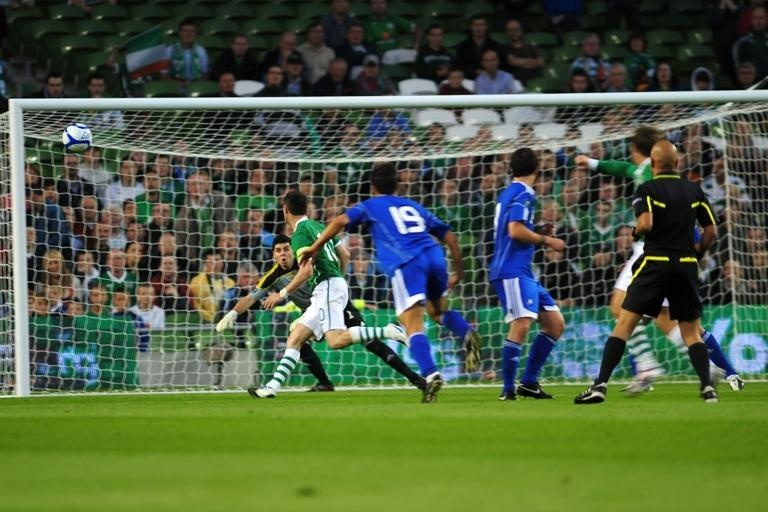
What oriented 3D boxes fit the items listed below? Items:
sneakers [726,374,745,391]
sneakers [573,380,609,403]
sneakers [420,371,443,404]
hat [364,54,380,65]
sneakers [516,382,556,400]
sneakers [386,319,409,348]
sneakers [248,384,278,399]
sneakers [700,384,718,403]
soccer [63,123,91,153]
[{"bbox_3d":[3.734,1.342,12.276,0.125,0.192,0.072,-23,-7,-1],"label":"sneakers"},{"bbox_3d":[2.079,1.348,11.314,0.392,0.171,0.146,-19,-27,41],"label":"sneakers"},{"bbox_3d":[0.481,1.330,11.643,0.159,0.366,0.138,38,29,31],"label":"sneakers"},{"bbox_3d":[-0.210,-3.000,17.571,0.281,0.140,0.445,1,3,2],"label":"hat"},{"bbox_3d":[1.616,1.412,12.118,0.439,0.192,0.145,3,2,1],"label":"sneakers"},{"bbox_3d":[0.171,0.859,12.142,0.158,0.365,0.123,-29,23,13],"label":"sneakers"},{"bbox_3d":[-1.308,1.443,12.290,0.278,0.159,0.264,-1,1,-7],"label":"sneakers"},{"bbox_3d":[3.205,1.339,11.348,0.159,0.161,0.110,0,2,16],"label":"sneakers"},{"bbox_3d":[-3.448,-1.336,12.871,0.288,0.307,0.337,-1,2,-17],"label":"soccer"}]
